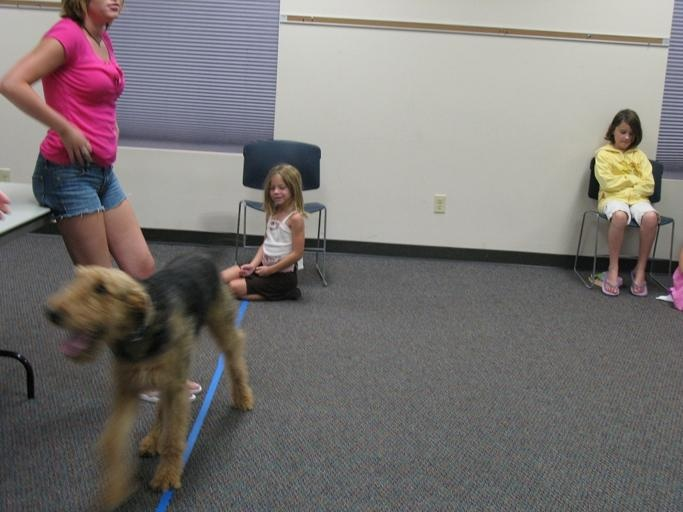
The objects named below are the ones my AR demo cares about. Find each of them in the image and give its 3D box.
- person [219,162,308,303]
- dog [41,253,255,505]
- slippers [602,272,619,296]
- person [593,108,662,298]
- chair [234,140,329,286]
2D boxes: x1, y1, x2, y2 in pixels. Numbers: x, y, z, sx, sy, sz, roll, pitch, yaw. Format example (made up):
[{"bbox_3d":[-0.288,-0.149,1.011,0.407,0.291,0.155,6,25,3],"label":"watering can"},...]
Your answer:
[{"bbox_3d":[-0.596,-0.272,4.217,0.839,1.414,0.673,1,10,-15],"label":"person"},{"bbox_3d":[-0.703,0.412,1.873,0.363,0.968,0.825,4,16,12],"label":"dog"},{"bbox_3d":[2.379,0.231,4.353,0.152,0.154,0.296,10,19,29],"label":"slippers"},{"bbox_3d":[2.549,-0.512,4.441,0.569,1.545,0.850,8,17,27],"label":"person"},{"bbox_3d":[-0.574,-0.402,4.655,0.854,1.334,0.900,6,7,39],"label":"chair"}]
